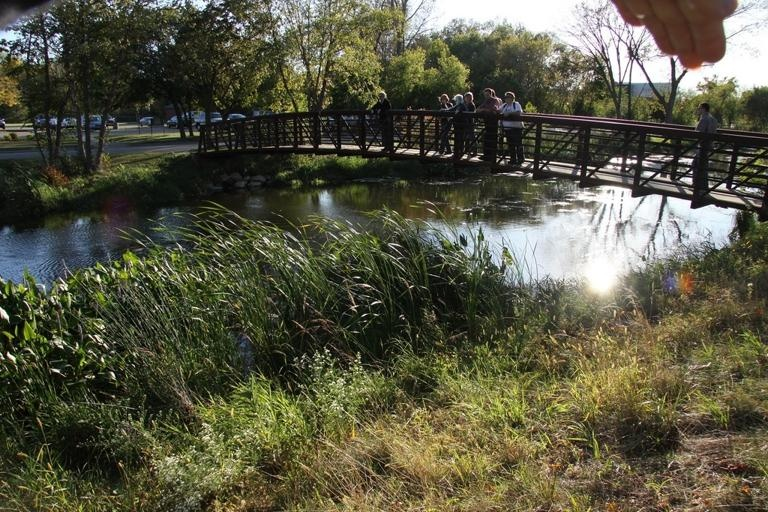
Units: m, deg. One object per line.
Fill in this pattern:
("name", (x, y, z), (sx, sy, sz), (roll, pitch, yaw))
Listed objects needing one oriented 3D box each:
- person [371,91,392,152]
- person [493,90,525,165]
("person", (-0.060, -3.782, 16.254), (0.556, 1.620, 1.154), (-1, 10, -2))
("person", (2.965, -2.974, 13.389), (0.537, 1.701, 1.498), (2, 11, 14))
